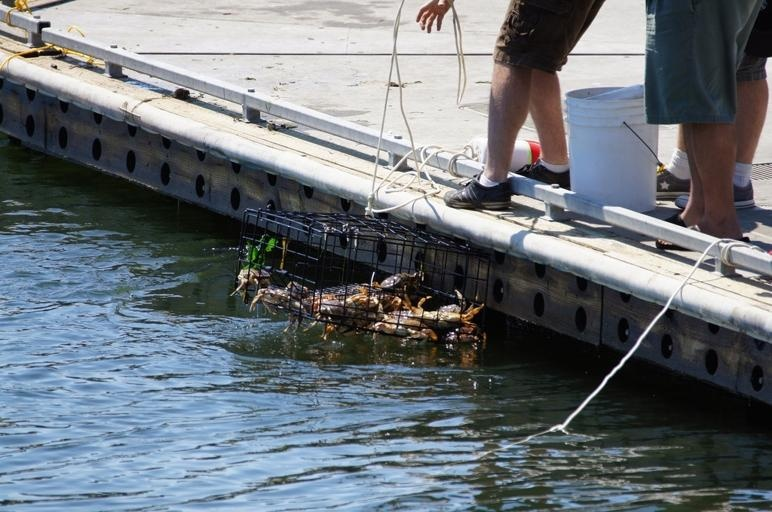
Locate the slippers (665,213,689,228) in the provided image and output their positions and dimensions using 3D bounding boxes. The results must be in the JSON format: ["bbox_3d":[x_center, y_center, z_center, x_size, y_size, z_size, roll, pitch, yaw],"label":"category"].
[{"bbox_3d":[1.815,-0.228,10.088,0.063,0.056,0.164,8,12,-28],"label":"slippers"}]
